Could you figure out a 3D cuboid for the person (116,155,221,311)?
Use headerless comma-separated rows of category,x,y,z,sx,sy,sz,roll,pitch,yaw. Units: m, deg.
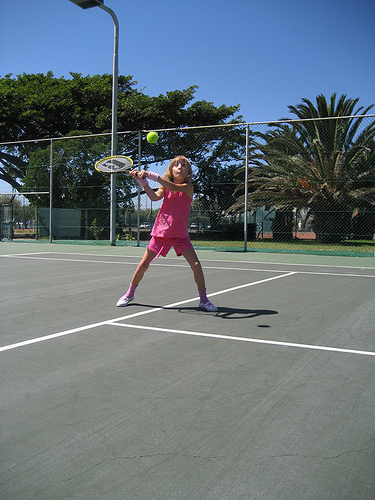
person,-0.197,-0.225,5.139,1.111,1.960,0.873,0,1,-12

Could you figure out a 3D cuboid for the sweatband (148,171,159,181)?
sweatband,-0.385,-0.839,4.697,0.093,0.112,0.270,0,1,-12

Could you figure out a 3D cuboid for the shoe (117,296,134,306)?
shoe,-0.821,0.672,5.416,0.207,0.118,0.137,0,1,-11

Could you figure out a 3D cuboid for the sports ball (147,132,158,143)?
sports ball,-0.482,-1.602,5.756,0.116,0.181,0.355,1,1,2

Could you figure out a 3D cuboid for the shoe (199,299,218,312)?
shoe,0.273,0.704,5.192,0.224,0.088,0.097,10,6,34
